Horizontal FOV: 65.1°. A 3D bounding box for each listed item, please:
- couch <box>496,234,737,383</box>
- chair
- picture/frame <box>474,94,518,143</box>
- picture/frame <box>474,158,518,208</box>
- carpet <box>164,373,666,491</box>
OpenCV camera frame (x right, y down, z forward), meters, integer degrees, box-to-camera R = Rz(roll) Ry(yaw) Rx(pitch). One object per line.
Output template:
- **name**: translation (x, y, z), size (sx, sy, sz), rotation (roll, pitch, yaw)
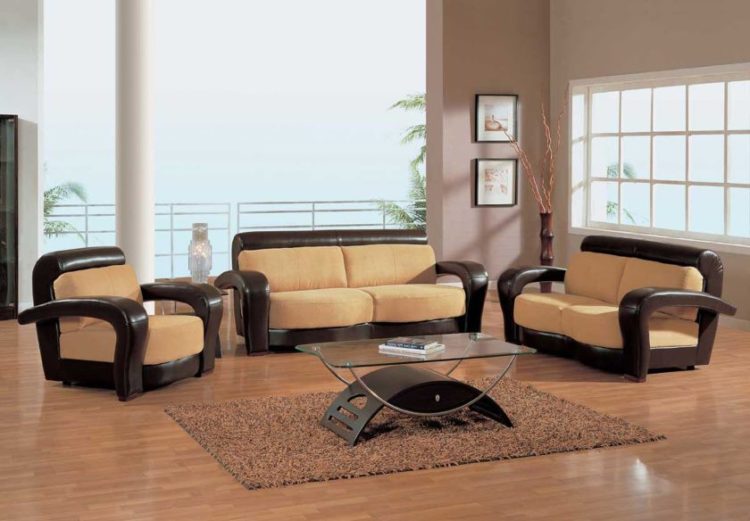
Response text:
- **couch**: translation (2.242, 0.384, 5.526), size (1.093, 1.132, 1.647), rotation (-5, 8, -30)
- **chair**: translation (-2.127, 0.462, 4.931), size (1.445, 0.870, 1.245), rotation (7, 8, 12)
- **picture/frame**: translation (1.737, -2.096, 8.606), size (0.900, 0.745, 0.063), rotation (-1, 7, -12)
- **picture/frame**: translation (1.752, -1.165, 8.671), size (0.896, 0.763, 0.064), rotation (-1, 3, -16)
- **carpet**: translation (0.114, 1.098, 3.962), size (2.895, 0.043, 1.387), rotation (-2, 6, -14)
